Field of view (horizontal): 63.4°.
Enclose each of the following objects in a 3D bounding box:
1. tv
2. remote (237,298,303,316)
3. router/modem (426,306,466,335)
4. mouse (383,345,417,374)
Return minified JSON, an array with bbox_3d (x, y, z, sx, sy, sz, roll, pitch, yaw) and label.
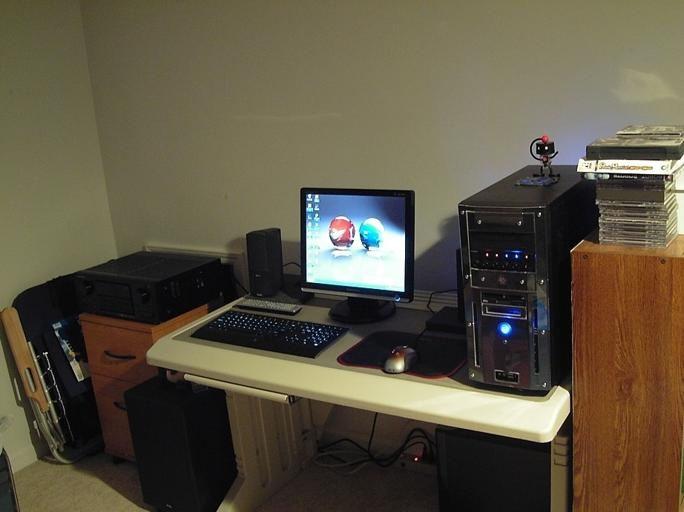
[{"bbox_3d":[0.066,-0.012,2.194,0.487,0.509,0.300,2,6,23],"label":"tv"},{"bbox_3d":[-0.304,0.209,2.329,0.199,0.043,0.061,8,25,18],"label":"remote"},{"bbox_3d":[0.399,0.247,2.097,0.099,0.025,0.110,5,18,26],"label":"router/modem"},{"bbox_3d":[0.191,0.344,1.826,0.075,0.066,0.108,7,13,36],"label":"mouse"}]
